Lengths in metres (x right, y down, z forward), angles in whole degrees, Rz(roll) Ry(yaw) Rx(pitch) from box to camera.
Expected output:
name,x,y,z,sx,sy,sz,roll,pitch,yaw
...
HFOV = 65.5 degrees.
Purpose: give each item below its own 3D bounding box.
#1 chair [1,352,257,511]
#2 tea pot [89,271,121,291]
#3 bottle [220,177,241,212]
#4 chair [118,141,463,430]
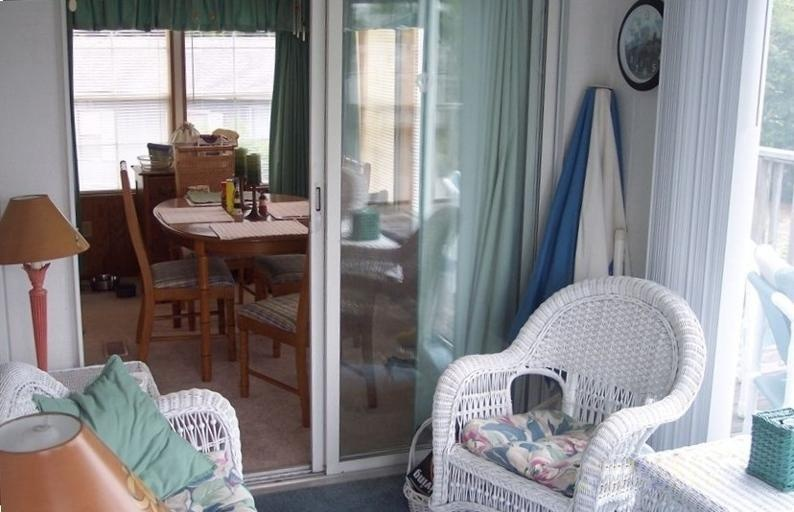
name,x,y,z,sx,sy,sz,roll,pitch,yaw
chair,-1.132,0.754,2.553,0.872,0.408,0.710,18,16,-12
tea pot,-2.760,0.239,5.738,0.199,0.079,0.188,0,8,0
bottle,-1.256,-0.449,4.609,0.153,0.381,0.129,0,37,-14
chair,-1.081,0.686,4.672,1.561,2.314,2.331,-7,22,-29
